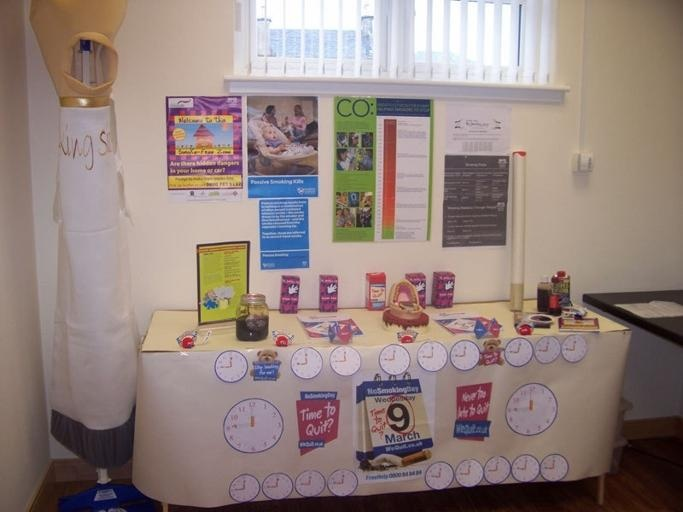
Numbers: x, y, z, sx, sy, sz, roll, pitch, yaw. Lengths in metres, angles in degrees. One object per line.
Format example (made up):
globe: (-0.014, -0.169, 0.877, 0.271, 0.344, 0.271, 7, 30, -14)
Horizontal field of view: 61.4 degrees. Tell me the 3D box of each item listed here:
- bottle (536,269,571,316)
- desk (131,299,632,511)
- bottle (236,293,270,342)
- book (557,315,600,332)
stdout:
bottle: (1.042, 0.188, 2.821, 0.189, 0.238, 0.157, 0, 5, -3)
desk: (0.168, 0.738, 2.632, 2.177, 0.930, 0.355, -4, 11, -9)
bottle: (-0.385, 0.268, 2.492, 0.133, 0.215, 0.184, 2, 9, 3)
book: (1.083, 0.313, 2.631, 0.120, 0.036, 0.085, -1, 11, 0)
